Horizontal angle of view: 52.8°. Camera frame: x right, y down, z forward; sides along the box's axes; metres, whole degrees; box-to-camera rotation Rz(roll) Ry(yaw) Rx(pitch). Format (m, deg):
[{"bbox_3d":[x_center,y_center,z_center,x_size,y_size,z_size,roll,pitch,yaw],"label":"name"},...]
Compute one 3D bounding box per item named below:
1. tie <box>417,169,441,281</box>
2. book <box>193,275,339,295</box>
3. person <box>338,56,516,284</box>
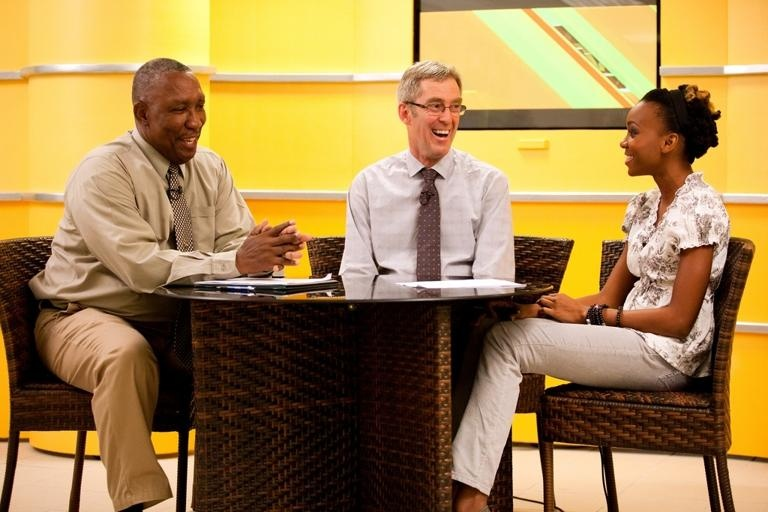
[{"bbox_3d":[0.201,-0.151,3.466,0.109,0.492,0.261,1,6,2],"label":"tie"},{"bbox_3d":[-0.458,0.110,2.927,0.556,0.038,0.296,1,5,3],"label":"book"},{"bbox_3d":[0.207,-0.219,3.555,0.916,1.295,0.690,0,6,-8],"label":"person"}]
